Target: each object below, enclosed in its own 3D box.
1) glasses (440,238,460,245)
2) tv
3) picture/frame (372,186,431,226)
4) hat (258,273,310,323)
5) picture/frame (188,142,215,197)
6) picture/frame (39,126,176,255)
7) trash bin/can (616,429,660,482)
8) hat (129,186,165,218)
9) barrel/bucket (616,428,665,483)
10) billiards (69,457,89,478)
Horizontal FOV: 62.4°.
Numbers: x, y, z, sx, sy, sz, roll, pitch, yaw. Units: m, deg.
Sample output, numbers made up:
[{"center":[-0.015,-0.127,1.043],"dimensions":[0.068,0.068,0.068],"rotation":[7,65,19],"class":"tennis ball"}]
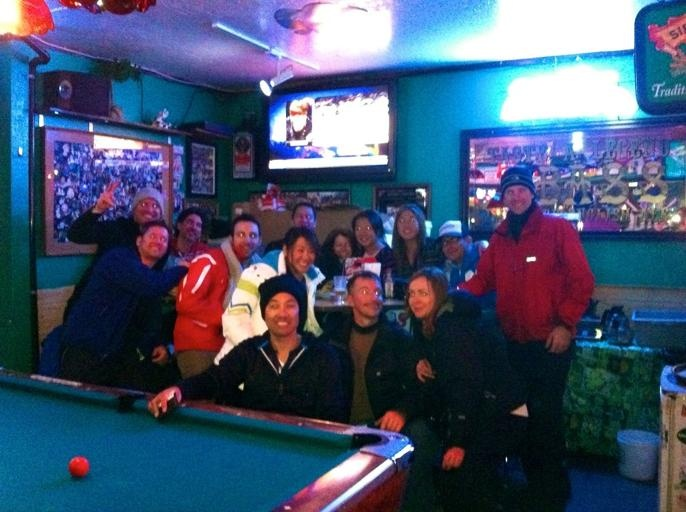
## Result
[{"center":[0.897,-0.133,4.757],"dimensions":[0.081,0.022,0.081],"rotation":[-15,-21,40],"class":"glasses"},{"center":[-0.092,-1.497,6.400],"dimensions":[1.251,0.781,0.170],"rotation":[1,1,18],"class":"tv"},{"center":[0.618,-0.519,5.769],"dimensions":[0.540,0.493,0.190],"rotation":[2,-6,16],"class":"picture/frame"},{"center":[-0.336,0.240,3.247],"dimensions":[0.227,0.297,0.268],"rotation":[5,38,-5],"class":"hat"},{"center":[-1.739,-1.060,6.842],"dimensions":[0.108,0.781,0.706],"rotation":[2,3,21],"class":"picture/frame"},{"center":[-2.225,-0.610,5.172],"dimensions":[0.108,1.146,1.419],"rotation":[3,3,32],"class":"picture/frame"},{"center":[1.986,1.342,3.910],"dimensions":[0.299,0.319,0.293],"rotation":[0,2,-7],"class":"trash bin/can"},{"center":[-1.733,-0.525,5.049],"dimensions":[0.353,0.293,0.346],"rotation":[5,1,-18],"class":"hat"},{"center":[2.024,1.366,3.896],"dimensions":[0.257,0.284,0.261],"rotation":[2,5,0],"class":"barrel/bucket"},{"center":[-1.025,0.810,2.208],"dimensions":[0.069,0.067,0.069],"rotation":[34,-23,-24],"class":"billiards"}]
